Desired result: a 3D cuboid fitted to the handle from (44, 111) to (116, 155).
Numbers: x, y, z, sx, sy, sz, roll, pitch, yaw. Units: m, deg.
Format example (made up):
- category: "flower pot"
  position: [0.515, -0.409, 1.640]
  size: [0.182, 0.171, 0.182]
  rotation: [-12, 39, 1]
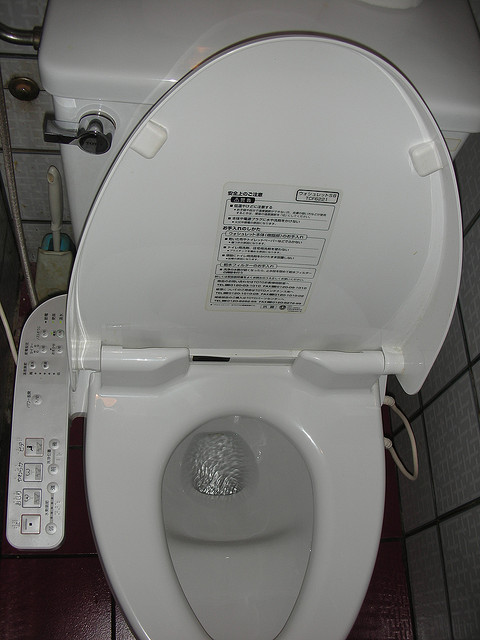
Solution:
- category: "handle"
  position: [-0.162, -0.193, 0.472]
  size: [0.063, 0.042, 0.052]
  rotation: [-26, 49, -34]
